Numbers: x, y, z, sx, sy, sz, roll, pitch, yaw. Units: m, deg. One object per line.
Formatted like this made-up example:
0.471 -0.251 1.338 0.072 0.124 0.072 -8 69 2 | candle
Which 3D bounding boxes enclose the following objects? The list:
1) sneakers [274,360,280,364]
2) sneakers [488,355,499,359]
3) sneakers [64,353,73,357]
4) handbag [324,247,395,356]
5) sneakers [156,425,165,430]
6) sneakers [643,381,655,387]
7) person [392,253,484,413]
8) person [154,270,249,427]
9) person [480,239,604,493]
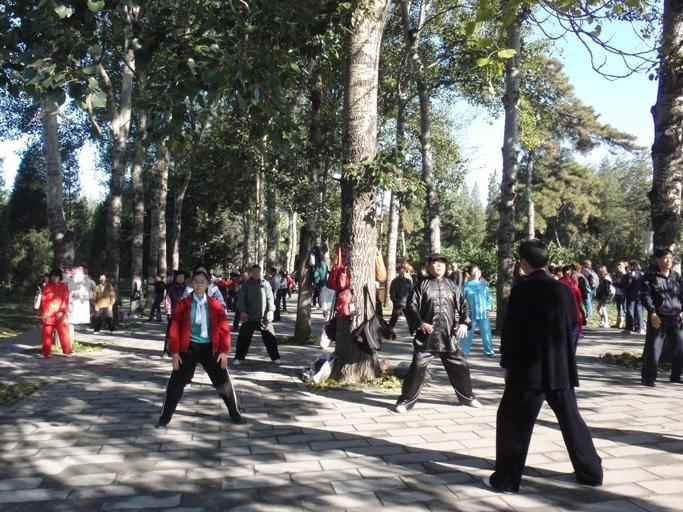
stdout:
-1.445 2.372 13.255 0.062 0.078 0.170 -2 0 40 | sneakers
3.722 2.454 14.388 0.095 0.140 0.332 3 -14 -11 | sneakers
-6.726 2.430 14.444 0.076 0.111 0.259 6 -15 -41 | sneakers
0.049 0.748 11.517 1.367 2.197 0.563 0 4 3 | handbag
-2.580 2.429 8.388 0.121 0.049 0.222 8 -8 -35 | sneakers
5.524 2.298 10.584 0.203 0.075 0.157 0 -7 29 | sneakers
1.501 1.194 9.335 1.261 2.527 0.593 4 -5 -8 | person
-2.078 1.355 8.718 1.097 2.272 0.496 5 -5 -19 | person
2.240 1.206 6.665 1.155 2.816 0.388 3 -5 -7 | person
